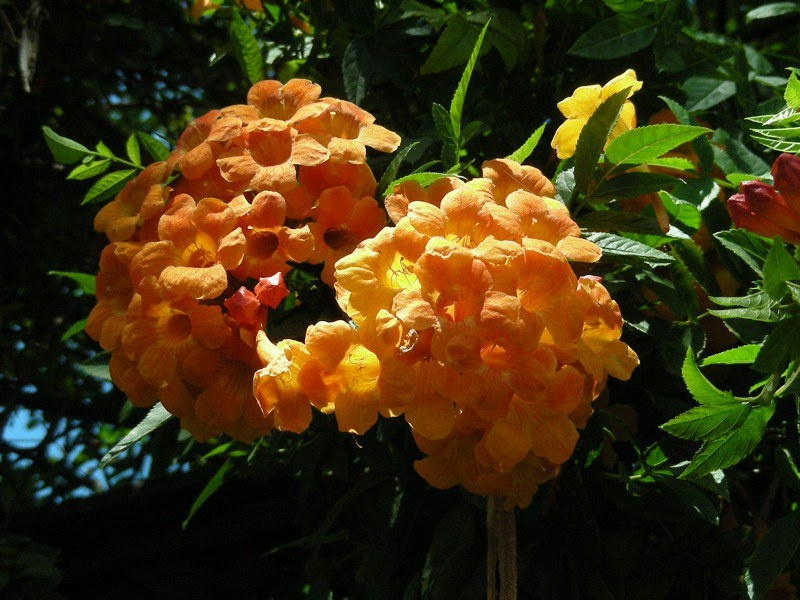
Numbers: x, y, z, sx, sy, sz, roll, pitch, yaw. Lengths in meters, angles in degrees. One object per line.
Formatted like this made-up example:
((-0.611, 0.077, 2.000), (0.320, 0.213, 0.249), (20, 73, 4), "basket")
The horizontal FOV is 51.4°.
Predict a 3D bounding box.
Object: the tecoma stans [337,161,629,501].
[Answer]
((0.120, 0.046, 1.166), (0.429, 0.470, 0.172), (-9, 1, -25), "tecoma stans")

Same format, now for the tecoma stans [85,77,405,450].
((-0.183, -0.030, 1.412), (0.487, 0.536, 0.272), (32, -10, 34), "tecoma stans")
